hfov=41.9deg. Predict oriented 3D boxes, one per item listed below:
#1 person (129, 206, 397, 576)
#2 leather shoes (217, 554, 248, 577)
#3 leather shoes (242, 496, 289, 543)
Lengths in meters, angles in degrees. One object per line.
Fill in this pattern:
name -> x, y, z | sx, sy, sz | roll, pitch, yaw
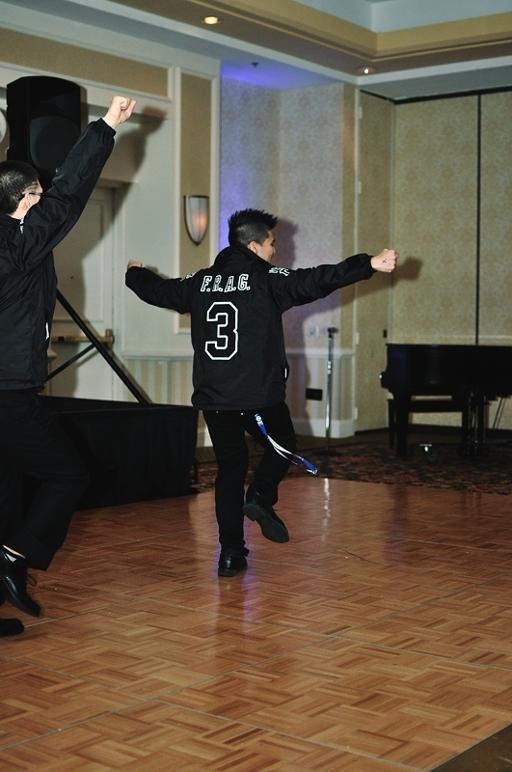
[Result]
person -> -0.007, 0.099, 2.620 | 1.088, 1.319, 0.288 | -2, -5, 32
leather shoes -> -0.095, 0.720, 2.681 | 0.060, 0.063, 0.148 | 2, 6, 19
leather shoes -> 0.036, 0.512, 2.545 | 0.161, 0.178, 0.181 | 0, -4, -1
